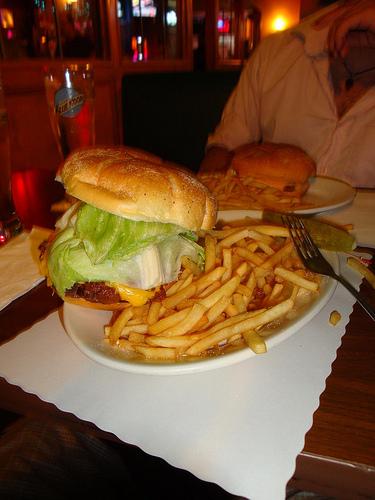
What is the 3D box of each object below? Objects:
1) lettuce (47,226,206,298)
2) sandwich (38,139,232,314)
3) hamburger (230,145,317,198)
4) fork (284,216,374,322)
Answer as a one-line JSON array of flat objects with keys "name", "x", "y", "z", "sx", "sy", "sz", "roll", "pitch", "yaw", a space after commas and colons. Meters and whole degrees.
[{"name": "lettuce", "x": -0.182, "y": -0.026, "z": 1.025, "sx": 0.401, "sy": 0.166, "sz": 0.282, "roll": -6, "pitch": 14, "yaw": -6}, {"name": "sandwich", "x": -0.125, "y": -0.038, "z": 1.063, "sx": 0.469, "sy": 0.269, "sz": 0.516, "roll": 4, "pitch": 18, "yaw": 40}, {"name": "hamburger", "x": 0.401, "y": -0.395, "z": 1.911, "sx": 0.525, "sy": 0.268, "sz": 0.450, "roll": 9, "pitch": 15, "yaw": 33}, {"name": "fork", "x": 0.329, "y": 0.020, "z": 0.880, "sx": 0.051, "sy": 0.042, "sz": 0.372, "roll": -7, "pitch": 42, "yaw": -15}]
